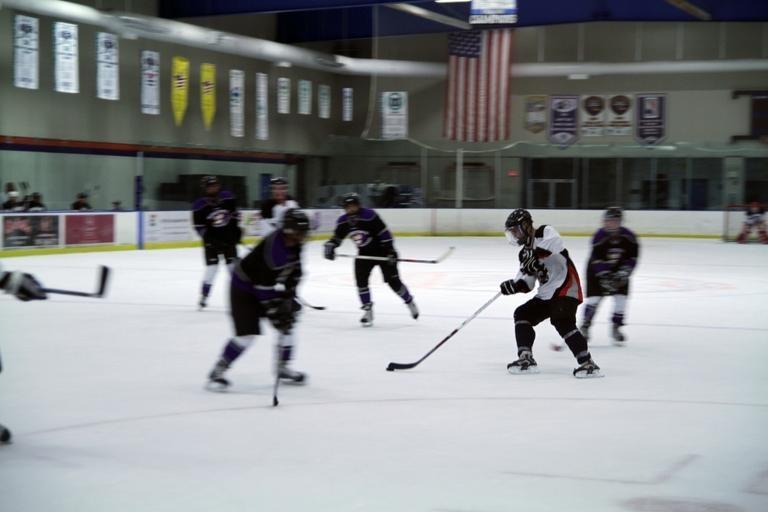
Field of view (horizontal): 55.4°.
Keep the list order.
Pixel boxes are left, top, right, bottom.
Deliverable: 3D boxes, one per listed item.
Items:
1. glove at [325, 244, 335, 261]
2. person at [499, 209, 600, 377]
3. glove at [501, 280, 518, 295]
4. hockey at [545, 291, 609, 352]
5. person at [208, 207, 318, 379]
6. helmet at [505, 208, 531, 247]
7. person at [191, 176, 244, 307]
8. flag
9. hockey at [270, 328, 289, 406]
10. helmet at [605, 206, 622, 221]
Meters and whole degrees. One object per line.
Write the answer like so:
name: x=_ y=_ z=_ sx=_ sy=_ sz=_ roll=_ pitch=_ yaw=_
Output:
glove: x=-0.500 y=-0.046 z=6.714 sx=0.088 sy=0.166 sz=0.143 roll=2 pitch=14 yaw=-1
person: x=1.215 y=0.265 z=5.299 sx=0.816 sy=1.192 sz=0.413 roll=7 pitch=16 yaw=18
glove: x=0.909 y=0.229 z=5.420 sx=0.131 sy=0.090 sz=0.045 roll=-22 pitch=33 yaw=27
hockey: x=1.489 y=0.602 z=6.055 sx=0.480 sy=0.149 sz=0.399 roll=-6 pitch=33 yaw=9
person: x=-0.819 y=0.299 z=4.784 sx=0.701 sy=1.277 sz=0.442 roll=3 pitch=15 yaw=4
helmet: x=0.967 y=-0.203 z=5.247 sx=0.195 sy=0.267 sz=0.208 roll=4 pitch=14 yaw=9
person: x=-1.729 y=-0.180 z=7.671 sx=0.616 sy=1.326 sz=0.507 roll=-5 pitch=0 yaw=-4
flag: x=2.424 y=-4.440 z=18.911 sx=1.663 sy=2.835 sz=0.921 roll=4 pitch=15 yaw=5
hockey: x=-0.686 y=0.784 z=4.722 sx=0.071 sy=0.375 sz=0.069 roll=24 pitch=-32 yaw=-34
helmet: x=1.888 y=-0.360 z=6.044 sx=0.138 sy=0.106 sz=0.221 roll=5 pitch=13 yaw=15
